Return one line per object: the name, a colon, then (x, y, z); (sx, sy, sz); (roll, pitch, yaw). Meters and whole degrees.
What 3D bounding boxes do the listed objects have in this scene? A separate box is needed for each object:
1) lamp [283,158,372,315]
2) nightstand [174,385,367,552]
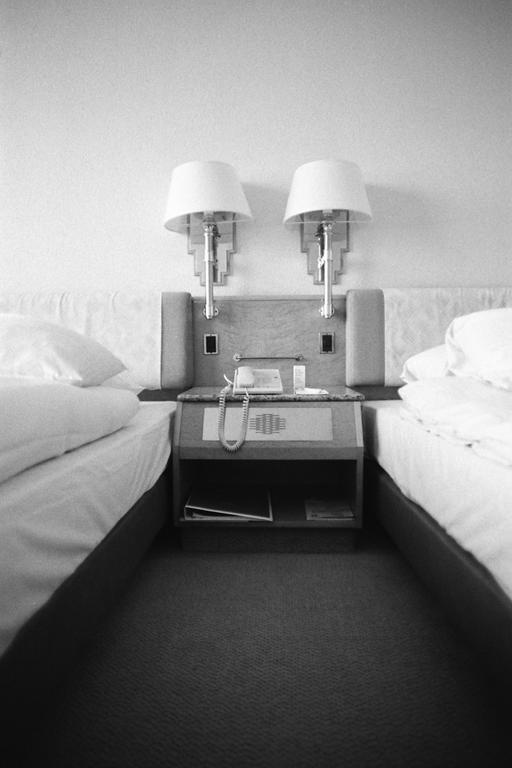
lamp: (0.229, -0.430, 1.909); (0.255, 0.596, 0.272); (1, 11, -13)
nightstand: (0.044, 0.211, 1.695); (0.517, 0.451, 0.380); (0, 11, 3)
